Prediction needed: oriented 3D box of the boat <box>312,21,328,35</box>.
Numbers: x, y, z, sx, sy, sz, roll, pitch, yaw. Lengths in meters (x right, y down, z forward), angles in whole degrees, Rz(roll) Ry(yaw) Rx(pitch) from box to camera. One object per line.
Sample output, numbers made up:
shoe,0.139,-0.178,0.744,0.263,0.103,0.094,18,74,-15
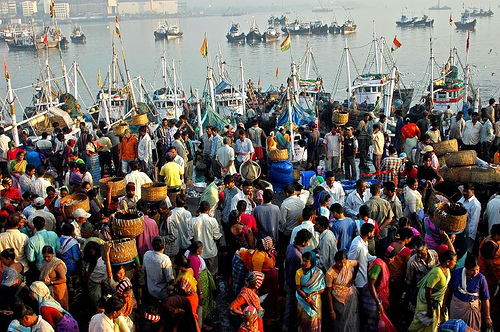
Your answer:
boat,13.409,-26.364,114.807,2.026,3.399,1.113,1,4,16

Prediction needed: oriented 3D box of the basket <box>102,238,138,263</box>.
basket,-2.529,1.635,11.516,0.602,0.459,0.643,-4,-1,-13

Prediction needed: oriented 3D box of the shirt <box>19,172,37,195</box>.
shirt,-5.183,0.416,14.112,0.347,0.623,0.365,2,13,11

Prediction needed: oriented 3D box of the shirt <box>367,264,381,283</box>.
shirt,2.226,1.942,10.752,0.201,0.299,0.158,31,4,18

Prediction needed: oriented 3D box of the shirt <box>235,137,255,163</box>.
shirt,-0.143,-0.416,15.870,0.478,0.605,0.216,10,16,26

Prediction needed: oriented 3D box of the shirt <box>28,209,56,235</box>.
shirt,-4.190,1.157,12.123,0.333,0.368,0.211,-7,33,-10

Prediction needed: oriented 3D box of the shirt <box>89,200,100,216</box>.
shirt,-3.297,0.890,12.946,0.185,0.265,0.270,-16,33,-5

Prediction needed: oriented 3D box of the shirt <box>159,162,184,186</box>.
shirt,-1.842,0.223,14.275,0.540,0.590,0.329,-3,-10,-26

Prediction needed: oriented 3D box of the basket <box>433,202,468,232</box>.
basket,3.962,0.997,11.894,0.618,0.452,0.676,1,12,22

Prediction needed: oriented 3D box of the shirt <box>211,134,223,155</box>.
shirt,-0.877,-0.572,16.082,0.219,0.439,0.413,19,6,-18

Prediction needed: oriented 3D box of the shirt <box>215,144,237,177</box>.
shirt,-0.626,-0.191,15.362,0.471,1.051,0.337,-1,40,3

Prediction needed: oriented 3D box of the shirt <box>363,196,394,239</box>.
shirt,2.670,0.984,12.519,0.684,0.935,0.345,2,33,24

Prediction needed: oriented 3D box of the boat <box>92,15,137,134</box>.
boat,-6.745,-4.225,29.712,1.434,3.848,5.606,-1,13,-4

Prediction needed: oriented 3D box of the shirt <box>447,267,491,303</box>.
shirt,3.891,2.140,10.674,0.733,0.610,0.362,8,2,41

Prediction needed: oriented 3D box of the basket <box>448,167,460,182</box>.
basket,4.833,0.200,14.239,0.262,0.337,0.109,1,10,22

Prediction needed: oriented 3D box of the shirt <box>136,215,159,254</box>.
shirt,-2.019,1.370,11.755,0.591,0.904,0.322,-1,12,-17

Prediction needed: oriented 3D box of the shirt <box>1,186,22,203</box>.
shirt,-5.413,0.638,13.766,0.486,0.531,0.290,3,5,-10

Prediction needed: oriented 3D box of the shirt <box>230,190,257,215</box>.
shirt,-0.116,0.752,12.925,0.342,0.649,0.620,-1,1,42

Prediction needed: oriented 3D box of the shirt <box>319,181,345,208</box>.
shirt,1.817,0.610,13.358,0.684,0.820,0.423,-1,5,-7

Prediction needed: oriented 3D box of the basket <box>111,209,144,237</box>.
basket,-2.299,1.099,11.642,0.450,0.354,0.503,2,6,7

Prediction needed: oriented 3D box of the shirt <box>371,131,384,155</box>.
shirt,3.428,-0.623,16.124,0.488,0.600,0.301,1,18,4

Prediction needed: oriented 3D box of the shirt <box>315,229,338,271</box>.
shirt,1.446,1.618,11.509,0.400,0.841,0.758,3,6,11

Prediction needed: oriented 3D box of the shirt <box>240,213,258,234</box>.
shirt,-0.028,1.163,12.100,0.296,0.380,0.192,8,27,19

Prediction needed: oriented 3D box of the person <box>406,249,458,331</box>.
person,3.279,2.230,10.781,0.560,1.711,0.605,5,34,3

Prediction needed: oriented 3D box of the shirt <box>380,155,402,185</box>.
shirt,3.439,0.116,14.586,0.465,0.610,0.327,8,23,15

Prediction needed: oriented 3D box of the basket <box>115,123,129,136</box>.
basket,-3.467,-1.005,16.404,0.286,0.257,0.318,6,18,14

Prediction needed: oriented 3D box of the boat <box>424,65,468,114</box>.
boat,10.093,-4.000,29.791,1.466,2.153,4.662,5,18,34

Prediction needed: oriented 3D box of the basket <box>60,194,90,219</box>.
basket,-3.649,0.857,12.721,0.601,0.421,0.871,-12,13,-36

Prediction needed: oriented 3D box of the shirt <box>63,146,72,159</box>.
shirt,-4.727,-0.361,15.659,0.279,0.365,0.184,-1,2,-16

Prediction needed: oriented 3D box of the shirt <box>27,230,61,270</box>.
shirt,-3.980,1.614,11.759,0.622,0.820,0.400,-8,27,-20

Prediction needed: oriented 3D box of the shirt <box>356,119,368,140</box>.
shirt,3.200,-1.029,17.033,0.274,0.579,0.215,-1,10,13

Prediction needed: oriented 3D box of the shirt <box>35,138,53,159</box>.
shirt,-5.615,-0.467,16.443,0.371,0.564,0.272,-7,14,-12

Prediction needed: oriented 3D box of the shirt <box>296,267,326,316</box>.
shirt,1.136,2.247,10.727,0.538,0.790,0.319,-27,-7,30

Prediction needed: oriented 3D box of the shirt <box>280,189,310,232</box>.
shirt,0.930,0.948,12.465,0.613,0.543,1.516,-4,-26,-3

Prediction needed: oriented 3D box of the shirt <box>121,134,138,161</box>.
shirt,-3.106,-0.474,15.577,0.471,0.585,0.299,7,14,28

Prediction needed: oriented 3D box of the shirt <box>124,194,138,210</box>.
shirt,-2.564,0.751,13.021,0.289,0.284,0.696,-6,11,-11

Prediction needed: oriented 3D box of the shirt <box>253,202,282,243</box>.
shirt,0.356,1.180,12.351,0.623,1.029,0.410,-1,25,-2

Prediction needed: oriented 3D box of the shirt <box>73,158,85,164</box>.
shirt,-4.111,-0.110,14.574,0.211,0.131,0.467,-7,12,-17

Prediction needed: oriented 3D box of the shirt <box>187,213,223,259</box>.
shirt,-0.919,1.355,12.251,0.653,0.965,0.475,4,19,6

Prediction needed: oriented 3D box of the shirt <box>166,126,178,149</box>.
shirt,-2.160,-0.800,16.762,0.364,0.581,0.271,8,4,-11

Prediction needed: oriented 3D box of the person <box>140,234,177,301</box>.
person,-1.723,1.976,11.383,0.620,1.339,0.257,1,10,23

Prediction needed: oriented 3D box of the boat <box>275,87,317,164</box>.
boat,1.429,-1.647,18.562,0.742,2.229,1.602,-10,-5,16

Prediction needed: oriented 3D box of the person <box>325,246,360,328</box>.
person,1.671,2.240,10.825,0.623,1.455,0.192,-5,9,-12

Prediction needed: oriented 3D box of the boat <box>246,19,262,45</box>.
boat,0.752,-23.213,102.137,1.741,3.202,6.686,3,37,4

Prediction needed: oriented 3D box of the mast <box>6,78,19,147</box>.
mast,-7.120,-1.638,18.099,0.151,2.032,4.219,-6,11,-21

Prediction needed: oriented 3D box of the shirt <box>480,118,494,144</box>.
shirt,6.257,-0.911,15.915,0.272,0.578,0.486,-4,14,-6

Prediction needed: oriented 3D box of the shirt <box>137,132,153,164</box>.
shirt,-2.694,-0.447,15.416,0.257,0.659,0.647,-3,12,-22

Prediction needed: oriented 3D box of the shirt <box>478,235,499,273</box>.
shirt,4.447,1.634,11.216,0.350,0.516,0.515,2,26,24
